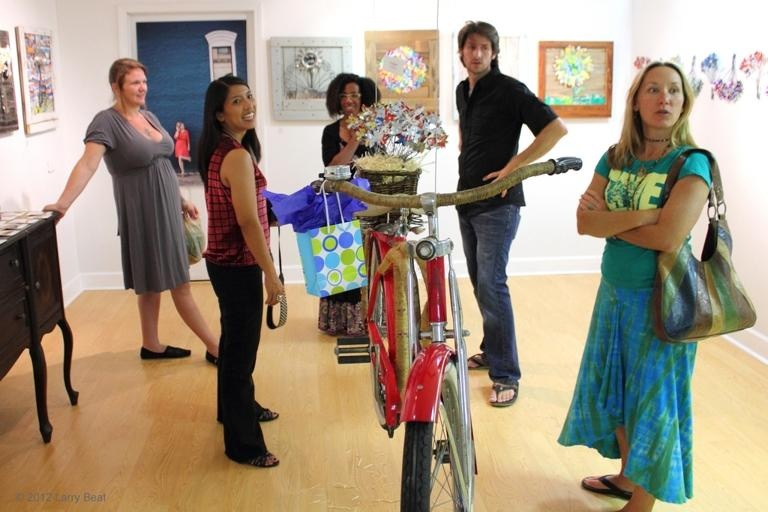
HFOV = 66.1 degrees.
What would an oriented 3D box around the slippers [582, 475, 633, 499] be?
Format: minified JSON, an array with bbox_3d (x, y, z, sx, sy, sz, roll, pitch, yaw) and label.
[{"bbox_3d":[1.155,1.168,3.032,0.232,0.055,0.091,9,11,18],"label":"slippers"}]

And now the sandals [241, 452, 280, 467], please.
[{"bbox_3d":[-0.689,1.109,3.269,0.195,0.076,0.079,-1,12,7],"label":"sandals"}]

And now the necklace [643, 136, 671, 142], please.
[{"bbox_3d":[1.264,-0.533,2.704,0.101,0.023,0.026,8,19,32],"label":"necklace"}]

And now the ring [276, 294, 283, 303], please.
[{"bbox_3d":[-0.556,0.222,3.083,0.009,0.037,0.038,10,1,18],"label":"ring"}]

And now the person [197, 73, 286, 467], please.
[{"bbox_3d":[-0.777,0.105,3.171,0.398,2.057,0.533,-7,17,-18],"label":"person"}]

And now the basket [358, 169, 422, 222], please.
[{"bbox_3d":[0.036,-0.316,3.060,0.263,0.209,0.281,-1,7,-8],"label":"basket"}]

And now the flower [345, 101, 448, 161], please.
[{"bbox_3d":[0.104,-0.586,3.033,0.388,0.223,0.276,5,-3,7],"label":"flower"}]

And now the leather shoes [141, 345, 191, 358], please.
[{"bbox_3d":[-1.631,0.727,4.434,0.373,0.107,0.129,-1,2,-6],"label":"leather shoes"}]

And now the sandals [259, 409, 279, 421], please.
[{"bbox_3d":[-0.710,0.977,3.631,0.114,0.037,0.060,0,30,-6],"label":"sandals"}]

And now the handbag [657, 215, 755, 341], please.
[{"bbox_3d":[1.392,0.097,2.579,0.425,0.490,0.188,-5,16,-12],"label":"handbag"}]

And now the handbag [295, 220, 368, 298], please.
[{"bbox_3d":[-0.275,0.005,3.230,0.374,0.528,0.201,-12,31,-1],"label":"handbag"}]
